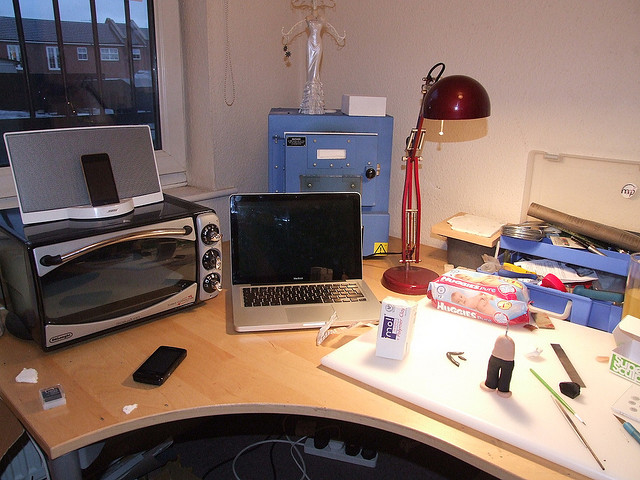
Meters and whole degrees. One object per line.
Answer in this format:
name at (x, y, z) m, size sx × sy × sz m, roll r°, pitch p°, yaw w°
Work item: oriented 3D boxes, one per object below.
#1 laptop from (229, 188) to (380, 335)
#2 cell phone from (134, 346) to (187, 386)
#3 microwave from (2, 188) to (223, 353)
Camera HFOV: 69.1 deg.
laptop at (-0.045, 0.041, 1.304) m, size 0.427 × 0.301 × 0.358 m, roll 0°, pitch 15°, yaw -6°
cell phone at (-0.377, 0.297, 1.105) m, size 0.069 × 0.027 × 0.118 m, roll 8°, pitch 21°, yaw 16°
microwave at (-0.541, -0.025, 1.202) m, size 0.515 × 0.327 × 0.375 m, roll -16°, pitch 26°, yaw -42°
